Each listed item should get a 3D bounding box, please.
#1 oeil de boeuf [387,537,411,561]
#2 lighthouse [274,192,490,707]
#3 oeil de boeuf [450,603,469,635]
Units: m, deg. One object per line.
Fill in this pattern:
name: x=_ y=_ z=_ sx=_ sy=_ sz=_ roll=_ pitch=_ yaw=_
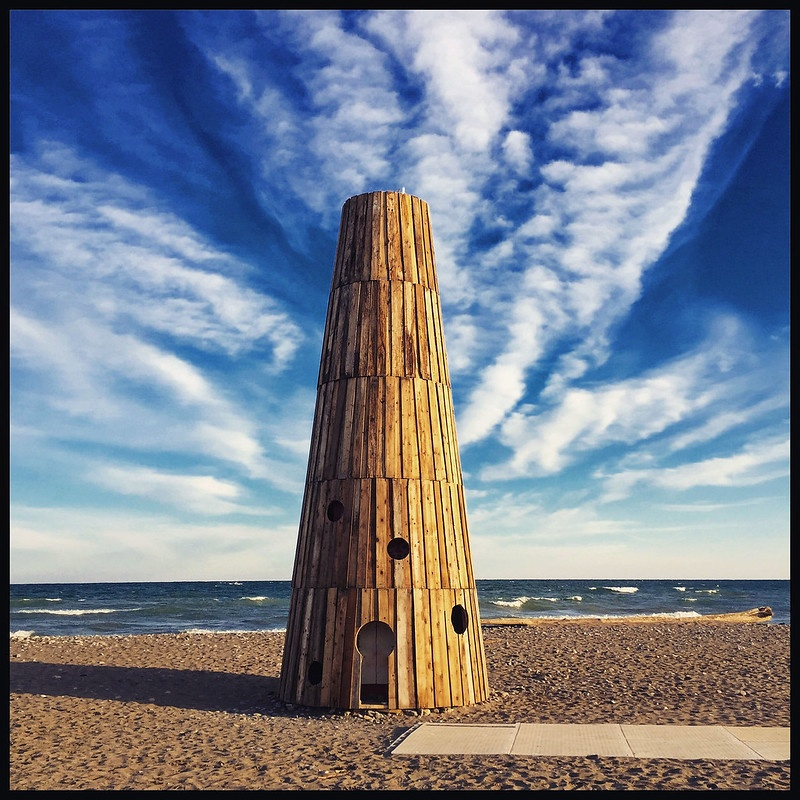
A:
oeil de boeuf: x=-0.071 y=2.349 z=9.747 sx=0.100 sy=0.391 sz=0.424 roll=4 pitch=-1 yaw=-38
lighthouse: x=-0.241 y=0.502 z=10.265 sx=2.853 sy=8.554 sz=1.111 roll=2 pitch=-16 yaw=-7
oeil de boeuf: x=0.958 y=3.508 z=9.909 sx=0.119 sy=0.456 sz=0.488 roll=1 pitch=-2 yaw=-25
